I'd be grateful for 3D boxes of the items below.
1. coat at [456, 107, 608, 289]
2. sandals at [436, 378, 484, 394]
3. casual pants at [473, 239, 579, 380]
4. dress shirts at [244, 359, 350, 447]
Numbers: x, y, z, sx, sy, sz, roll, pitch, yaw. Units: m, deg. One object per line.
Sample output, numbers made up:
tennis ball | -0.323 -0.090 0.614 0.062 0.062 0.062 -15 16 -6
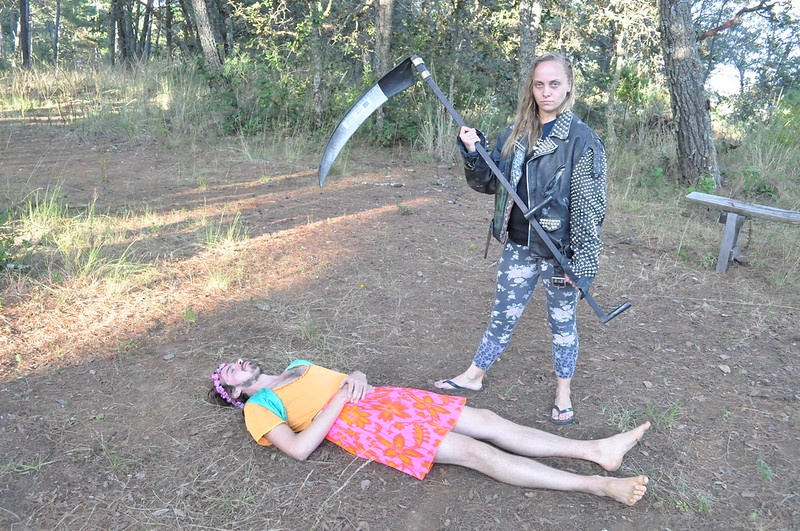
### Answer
coat | 1.227 -0.721 5.931 1.508 1.526 0.736 15 10 30
sandals | 0.604 1.228 6.368 0.440 0.110 0.182 7 5 3
casual pants | 1.256 0.403 6.115 0.977 1.877 0.505 7 24 11
dress shirts | -0.994 1.277 5.863 0.800 0.316 0.723 -34 42 -9
